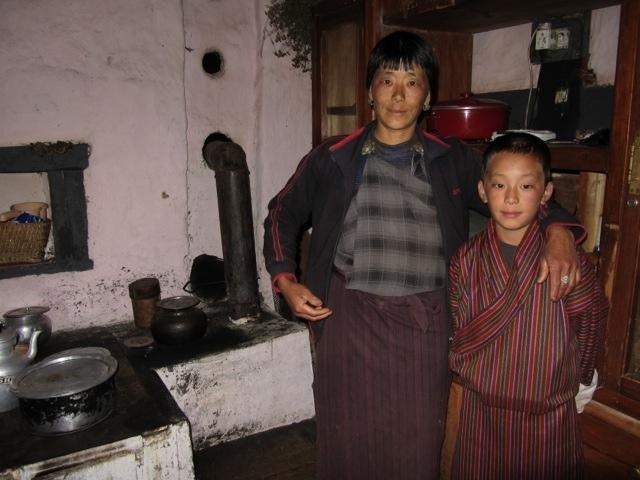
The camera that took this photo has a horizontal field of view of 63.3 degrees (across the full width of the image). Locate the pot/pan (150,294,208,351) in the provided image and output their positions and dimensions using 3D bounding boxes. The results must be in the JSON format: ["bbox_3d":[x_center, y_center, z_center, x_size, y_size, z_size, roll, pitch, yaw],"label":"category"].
[{"bbox_3d":[-0.938,0.512,3.411,0.312,0.228,0.309,-4,15,-15],"label":"pot/pan"}]

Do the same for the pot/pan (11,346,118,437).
[{"bbox_3d":[-1.309,0.747,2.672,0.504,0.198,0.547,-8,15,-33],"label":"pot/pan"}]

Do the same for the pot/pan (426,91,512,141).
[{"bbox_3d":[0.799,-0.655,2.814,0.373,0.206,0.342,1,12,10],"label":"pot/pan"}]

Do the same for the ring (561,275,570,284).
[{"bbox_3d":[0.953,0.153,2.018,0.031,0.031,0.008,5,-7,4],"label":"ring"}]
